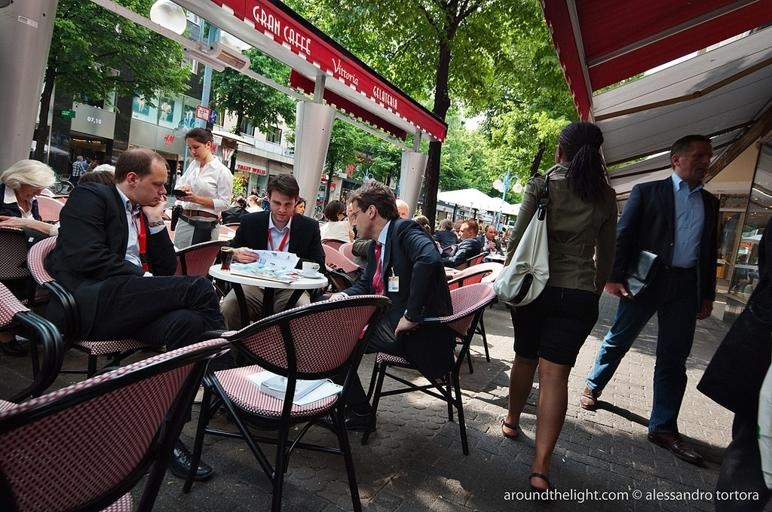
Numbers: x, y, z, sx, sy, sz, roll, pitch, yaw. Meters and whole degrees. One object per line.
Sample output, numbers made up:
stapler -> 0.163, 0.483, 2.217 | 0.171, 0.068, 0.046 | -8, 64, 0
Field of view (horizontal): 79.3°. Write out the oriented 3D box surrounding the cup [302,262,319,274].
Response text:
cup -> -0.686, 0.099, 4.206 | 0.121, 0.093, 0.094 | 4, 0, 21

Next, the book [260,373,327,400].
book -> -0.584, 0.816, 2.922 | 0.223, 0.036, 0.250 | 4, 6, 24

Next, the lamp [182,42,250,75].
lamp -> -2.308, -2.734, 6.342 | 0.531, 0.291, 0.852 | 12, 10, 29

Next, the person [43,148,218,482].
person -> -1.872, -0.079, 3.476 | 1.034, 1.431, 1.164 | -1, 12, -41

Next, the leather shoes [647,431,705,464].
leather shoes -> 2.627, 1.700, 4.209 | 0.148, 0.166, 0.395 | 17, -4, -39

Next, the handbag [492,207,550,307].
handbag -> 1.060, 0.021, 3.526 | 0.390, 0.806, 0.267 | 10, 9, 17

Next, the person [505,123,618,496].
person -> 1.292, 0.291, 3.631 | 0.758, 2.686, 1.029 | 12, 10, 26

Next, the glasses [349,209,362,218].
glasses -> -0.257, -0.372, 4.008 | 0.104, 0.109, 0.033 | 6, 8, 21

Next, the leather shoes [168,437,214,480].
leather shoes -> -1.375, 1.357, 3.164 | 0.463, 0.186, 0.157 | 4, 1, 32

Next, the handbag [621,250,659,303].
handbag -> 2.336, 0.172, 4.241 | 0.152, 0.449, 0.396 | 25, 5, -11
